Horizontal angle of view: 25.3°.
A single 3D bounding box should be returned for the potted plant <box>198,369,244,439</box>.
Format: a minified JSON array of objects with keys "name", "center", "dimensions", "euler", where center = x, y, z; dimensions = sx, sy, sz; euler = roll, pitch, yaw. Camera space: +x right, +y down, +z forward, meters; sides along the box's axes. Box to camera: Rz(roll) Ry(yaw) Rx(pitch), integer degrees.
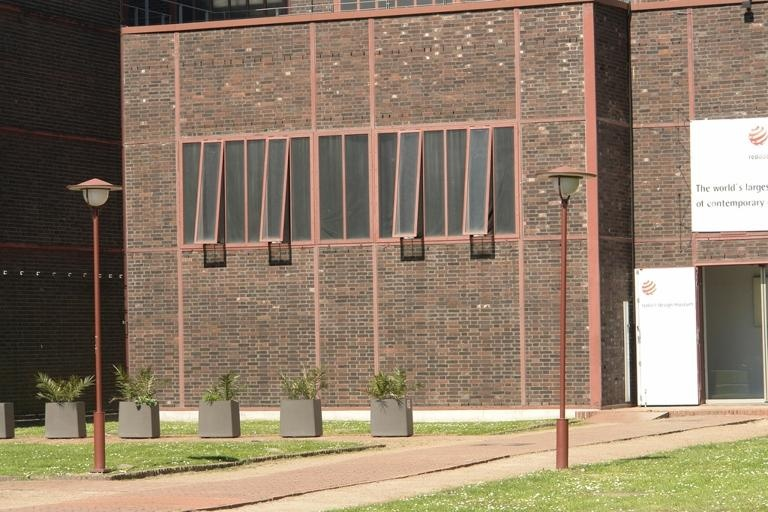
[{"name":"potted plant","center":[-5.393,4.833,55.670],"dimensions":[1.396,2.080,0.900],"euler":[-1,-5,-17]}]
